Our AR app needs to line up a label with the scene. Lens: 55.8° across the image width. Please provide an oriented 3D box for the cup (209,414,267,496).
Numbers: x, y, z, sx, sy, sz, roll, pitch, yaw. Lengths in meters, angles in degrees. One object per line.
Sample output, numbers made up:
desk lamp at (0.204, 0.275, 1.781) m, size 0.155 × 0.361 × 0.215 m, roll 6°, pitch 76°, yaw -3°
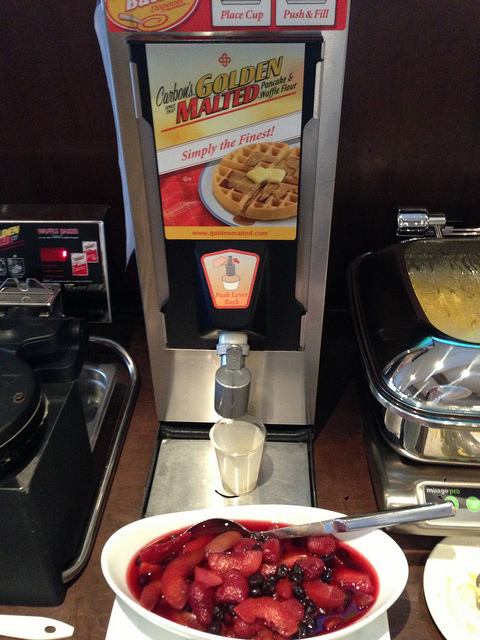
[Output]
cup at (0.000, 0.176, 0.651) m, size 0.103 × 0.103 × 0.105 m, roll -1°, pitch 32°, yaw 1°

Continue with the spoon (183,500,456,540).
spoon at (0.093, 0.226, 0.511) m, size 0.181 × 0.009 × 0.059 m, roll -7°, pitch 7°, yaw 6°

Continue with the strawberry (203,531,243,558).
strawberry at (-0.019, 0.240, 0.489) m, size 0.017 × 0.011 × 0.035 m, roll 23°, pitch 30°, yaw 37°

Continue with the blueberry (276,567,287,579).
blueberry at (0.041, 0.256, 0.461) m, size 0.009 × 0.008 × 0.009 m, roll 3°, pitch 11°, yaw 5°

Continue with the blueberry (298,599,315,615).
blueberry at (0.066, 0.276, 0.440) m, size 0.012 × 0.011 × 0.020 m, roll -2°, pitch 8°, yaw 0°

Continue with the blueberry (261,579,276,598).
blueberry at (0.028, 0.264, 0.448) m, size 0.012 × 0.014 × 0.013 m, roll 3°, pitch 68°, yaw -5°

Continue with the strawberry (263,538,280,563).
strawberry at (0.034, 0.242, 0.478) m, size 0.016 × 0.009 × 0.020 m, roll 4°, pitch 68°, yaw 1°

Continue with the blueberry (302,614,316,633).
blueberry at (0.065, 0.284, 0.423) m, size 0.011 × 0.004 × 0.010 m, roll 16°, pitch 32°, yaw -17°

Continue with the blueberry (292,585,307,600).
blueberry at (0.058, 0.266, 0.445) m, size 0.011 × 0.006 × 0.011 m, roll 28°, pitch 48°, yaw 6°

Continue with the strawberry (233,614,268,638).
strawberry at (0.008, 0.282, 0.416) m, size 0.031 × 0.018 × 0.015 m, roll 4°, pitch 34°, yaw 10°

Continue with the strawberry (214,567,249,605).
strawberry at (-0.008, 0.260, 0.446) m, size 0.031 × 0.017 × 0.033 m, roll 4°, pitch 34°, yaw 10°

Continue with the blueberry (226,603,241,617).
blueberry at (-0.007, 0.273, 0.432) m, size 0.010 × 0.010 × 0.006 m, roll 13°, pitch 13°, yaw 39°

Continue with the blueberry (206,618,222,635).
blueberry at (-0.023, 0.281, 0.418) m, size 0.010 × 0.009 × 0.017 m, roll 3°, pitch -4°, yaw -1°

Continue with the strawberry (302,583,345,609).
strawberry at (0.082, 0.270, 0.448) m, size 0.041 × 0.016 × 0.021 m, roll 3°, pitch 34°, yaw 9°

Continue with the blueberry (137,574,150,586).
blueberry at (-0.100, 0.268, 0.468) m, size 0.012 × 0.004 × 0.010 m, roll 1°, pitch 34°, yaw 6°

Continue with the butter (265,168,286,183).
butter at (0.037, -0.156, 0.486) m, size 0.026 × 0.025 × 0.008 m, roll 0°, pitch 16°, yaw -1°

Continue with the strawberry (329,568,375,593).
strawberry at (0.116, 0.268, 0.471) m, size 0.045 × 0.010 × 0.022 m, roll 7°, pitch 35°, yaw 15°

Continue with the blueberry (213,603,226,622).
blueberry at (-0.020, 0.278, 0.433) m, size 0.012 × 0.010 × 0.015 m, roll -2°, pitch 33°, yaw 1°

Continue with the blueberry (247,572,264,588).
blueberry at (0.015, 0.260, 0.454) m, size 0.011 × 0.010 × 0.010 m, roll 6°, pitch 65°, yaw -1°

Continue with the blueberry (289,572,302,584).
blueberry at (0.055, 0.259, 0.457) m, size 0.013 × 0.006 × 0.010 m, roll 7°, pitch 35°, yaw 15°

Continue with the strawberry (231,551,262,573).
strawberry at (0.007, 0.248, 0.467) m, size 0.031 × 0.013 × 0.022 m, roll -2°, pitch 33°, yaw 2°
